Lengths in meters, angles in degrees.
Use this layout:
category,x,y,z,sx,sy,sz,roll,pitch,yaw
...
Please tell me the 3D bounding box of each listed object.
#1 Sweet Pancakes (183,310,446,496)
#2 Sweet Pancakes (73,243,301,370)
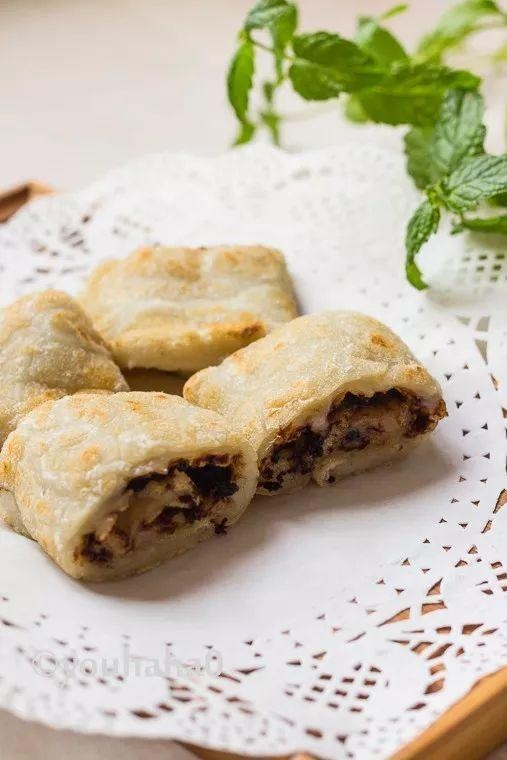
category,x,y,z,sx,sy,sz,roll,pitch,yaw
Sweet Pancakes,0.168,0.093,1.772,0.495,0.241,0.355,-20,41,-4
Sweet Pancakes,-0.133,-0.183,1.917,0.404,0.116,0.393,-18,39,-20
